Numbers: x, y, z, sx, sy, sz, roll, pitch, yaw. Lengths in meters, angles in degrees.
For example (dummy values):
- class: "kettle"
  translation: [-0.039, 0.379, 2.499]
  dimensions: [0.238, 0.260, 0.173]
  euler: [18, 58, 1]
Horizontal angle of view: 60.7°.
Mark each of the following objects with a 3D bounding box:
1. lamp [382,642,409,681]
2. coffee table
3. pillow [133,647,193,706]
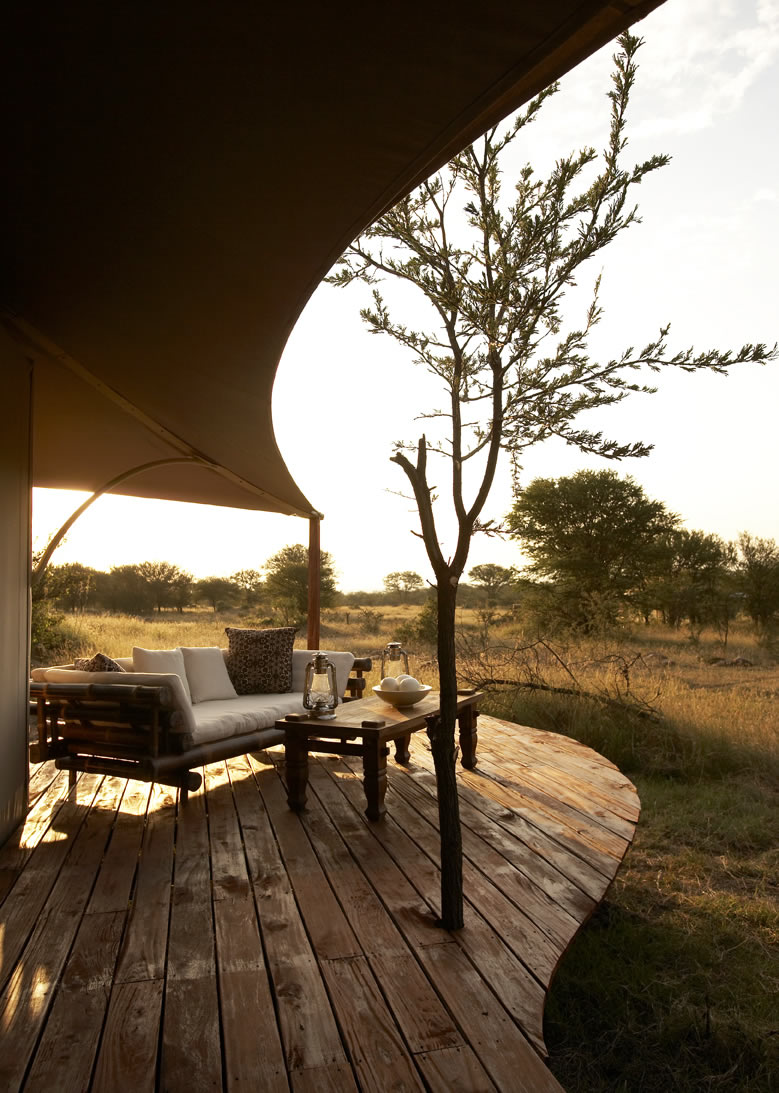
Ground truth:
- class: "lamp"
  translation: [0.052, 0.764, 4.527]
  dimensions: [0.157, 0.222, 0.457]
  euler: [-1, -7, 2]
- class: "coffee table"
  translation: [0.035, 1.221, 4.116]
  dimensions: [0.613, 0.591, 1.506]
  euler: [-3, -5, 29]
- class: "pillow"
  translation: [-1.317, 0.745, 3.853]
  dimensions: [0.112, 0.307, 0.348]
  euler: [-16, -13, 9]
